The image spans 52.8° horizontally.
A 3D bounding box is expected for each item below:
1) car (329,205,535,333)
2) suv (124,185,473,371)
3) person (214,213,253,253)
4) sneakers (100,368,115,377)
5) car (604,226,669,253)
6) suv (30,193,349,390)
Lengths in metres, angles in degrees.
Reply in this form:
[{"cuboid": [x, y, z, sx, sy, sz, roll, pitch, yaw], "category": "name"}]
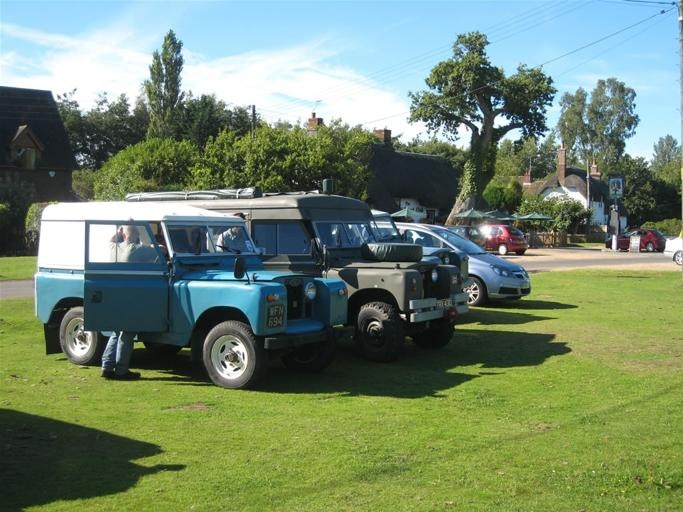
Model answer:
[{"cuboid": [1.946, 0.032, 17.000, 4.712, 1.754, 2.213, 3, 6, 25], "category": "car"}, {"cuboid": [-0.191, 0.112, 12.843, 4.777, 2.300, 2.513, 0, 2, 29], "category": "suv"}, {"cuboid": [-1.776, -0.336, 10.984, 0.365, 0.665, 0.706, -4, -3, 38], "category": "person"}, {"cuboid": [-3.434, 1.735, 10.120, 0.206, 0.147, 0.114, 3, -5, -5], "category": "sneakers"}, {"cuboid": [20.803, -1.108, 48.710, 3.993, 1.362, 1.912, 3, 4, 39], "category": "car"}, {"cuboid": [-2.562, 0.491, 10.504, 4.419, 2.456, 2.618, -2, -1, 27], "category": "suv"}]
